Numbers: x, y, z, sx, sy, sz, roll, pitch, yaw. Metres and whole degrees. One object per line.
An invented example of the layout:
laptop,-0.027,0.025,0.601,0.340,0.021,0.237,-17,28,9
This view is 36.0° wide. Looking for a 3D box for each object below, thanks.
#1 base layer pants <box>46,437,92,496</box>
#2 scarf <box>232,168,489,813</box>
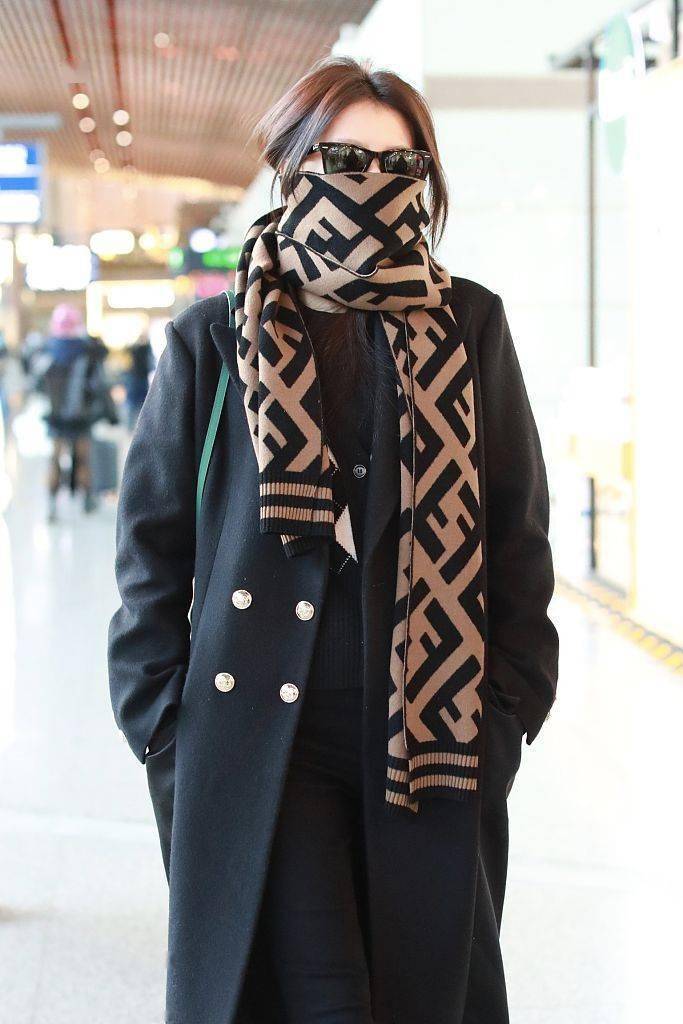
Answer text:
base layer pants,-2.527,-0.427,9.797,0.390,0.614,0.601,-6,10,-9
scarf,0.020,-0.049,1.278,0.302,0.726,0.344,-1,11,16
